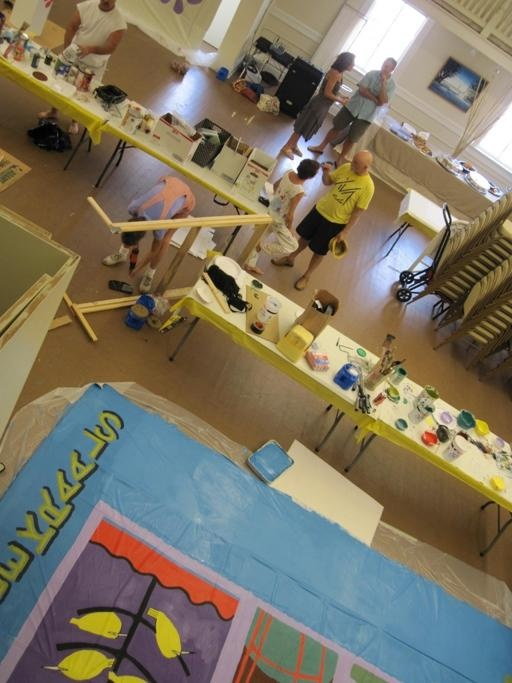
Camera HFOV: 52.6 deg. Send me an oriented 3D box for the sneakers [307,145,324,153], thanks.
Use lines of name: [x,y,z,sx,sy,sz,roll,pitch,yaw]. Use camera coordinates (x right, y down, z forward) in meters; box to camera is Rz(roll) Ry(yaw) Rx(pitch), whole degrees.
sneakers: [0.946,-3.077,8.312,0.171,0.078,0.160,13,-14,-1]

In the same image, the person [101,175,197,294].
person: [-0.866,-0.809,4.375,0.408,1.251,0.735,31,61,5]

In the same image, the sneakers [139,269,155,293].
sneakers: [-0.980,-0.538,4.693,0.090,0.267,0.105,14,25,-4]

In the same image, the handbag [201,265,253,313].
handbag: [-0.230,-0.413,4.073,0.408,0.127,0.266,40,73,10]

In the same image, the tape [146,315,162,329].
tape: [-0.892,-0.169,4.550,0.126,0.076,0.102,32,25,-6]

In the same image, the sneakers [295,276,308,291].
sneakers: [0.497,-0.623,5.741,0.097,0.081,0.204,22,50,9]

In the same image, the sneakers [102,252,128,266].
sneakers: [-1.278,-0.761,4.775,0.247,0.095,0.090,-25,85,-40]

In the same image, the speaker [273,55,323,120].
speaker: [0.722,-4.311,8.813,0.558,0.800,0.558,37,35,6]

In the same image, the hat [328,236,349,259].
hat: [0.803,-0.921,5.166,0.162,0.197,0.168,8,18,-11]
